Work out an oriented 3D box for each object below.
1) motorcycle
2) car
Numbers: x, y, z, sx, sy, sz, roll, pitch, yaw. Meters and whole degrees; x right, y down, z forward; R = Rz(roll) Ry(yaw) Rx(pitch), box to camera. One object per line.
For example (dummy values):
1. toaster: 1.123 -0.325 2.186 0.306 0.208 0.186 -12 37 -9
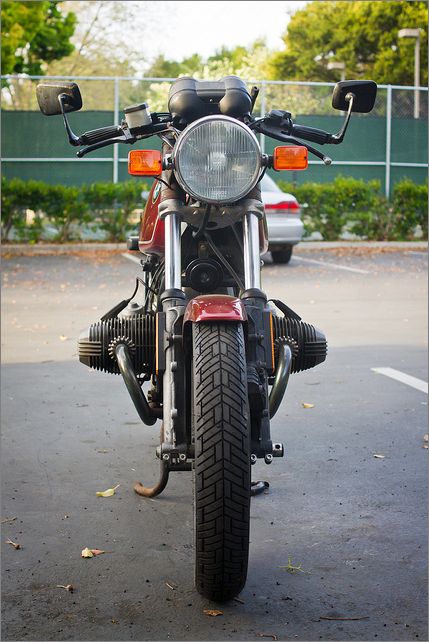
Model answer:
1. motorcycle: -0.185 -0.076 3.193 1.243 1.976 1.735 4 11 20
2. car: 0.387 -2.106 14.144 1.627 1.336 2.867 -1 10 -33
